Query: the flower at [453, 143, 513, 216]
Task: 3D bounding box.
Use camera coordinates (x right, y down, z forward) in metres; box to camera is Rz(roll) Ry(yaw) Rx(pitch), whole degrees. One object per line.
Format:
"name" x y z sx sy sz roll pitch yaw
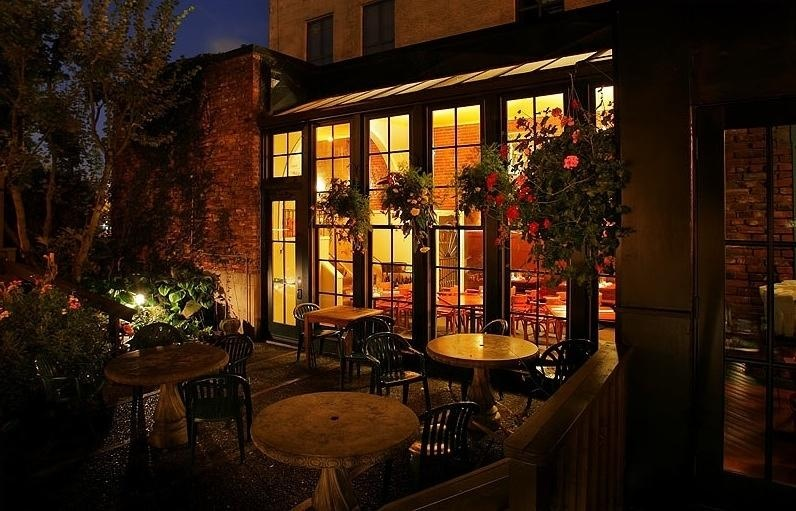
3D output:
"flower" 0.973 -0.851 6.682 0.850 0.612 0.853 3 -3 4

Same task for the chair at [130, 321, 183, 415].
"chair" -2.882 1.351 7.529 0.882 1.207 0.880 1 -4 -16

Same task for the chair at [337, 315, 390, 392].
"chair" -0.628 1.448 8.288 0.633 0.833 0.671 2 -10 -7

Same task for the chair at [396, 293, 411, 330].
"chair" 0.079 0.919 9.087 0.281 0.605 0.156 0 -1 21

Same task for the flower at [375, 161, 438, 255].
"flower" 0.202 -0.654 8.263 0.631 1.214 0.836 0 -1 24

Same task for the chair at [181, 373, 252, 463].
"chair" -1.996 1.754 6.513 0.704 1.054 0.764 -2 10 -17

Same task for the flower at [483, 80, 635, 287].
"flower" 1.326 -0.567 5.488 0.921 1.605 1.734 2 -1 -28

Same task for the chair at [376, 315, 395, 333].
"chair" -0.149 0.970 8.286 0.227 0.294 0.237 -2 3 -18

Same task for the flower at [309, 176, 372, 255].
"flower" -0.895 -0.610 9.239 0.983 1.150 0.670 0 -2 42

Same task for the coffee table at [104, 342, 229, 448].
"coffee table" -2.607 1.526 6.632 1.159 0.787 1.166 0 -2 32

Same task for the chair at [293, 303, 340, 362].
"chair" -1.413 1.262 9.563 0.595 0.773 0.572 -5 6 -43
